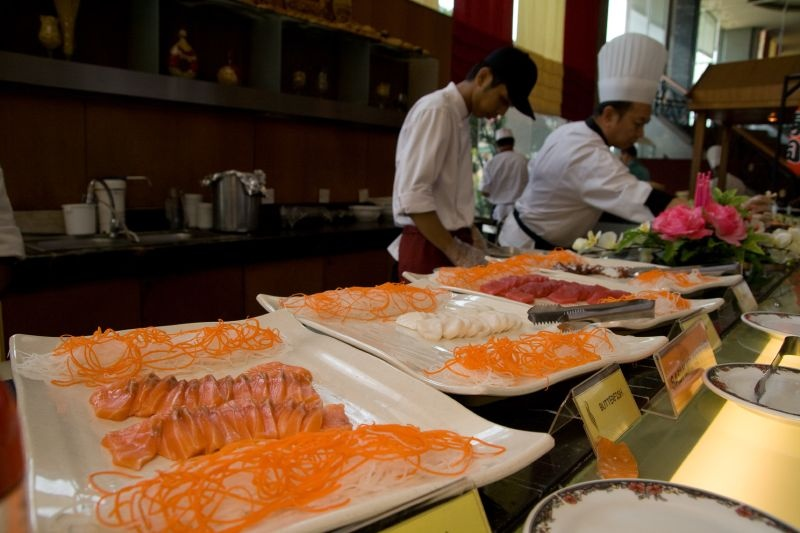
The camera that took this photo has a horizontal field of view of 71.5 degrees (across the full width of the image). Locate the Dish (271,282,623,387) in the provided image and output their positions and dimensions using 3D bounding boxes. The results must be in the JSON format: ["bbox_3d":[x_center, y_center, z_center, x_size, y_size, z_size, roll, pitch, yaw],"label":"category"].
[{"bbox_3d":[-0.017,0.184,1.568,0.425,0.086,0.595,-7,11,-44],"label":"Dish"}]

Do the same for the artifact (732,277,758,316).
[{"bbox_3d":[1.228,0.121,2.012,0.123,0.114,0.034,-18,-14,-39],"label":"artifact"}]

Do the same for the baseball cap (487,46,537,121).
[{"bbox_3d":[0.526,-0.878,2.665,0.261,0.312,0.150,-1,16,-6],"label":"baseball cap"}]

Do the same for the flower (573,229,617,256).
[{"bbox_3d":[0.942,-0.111,2.683,0.143,0.067,0.131,-3,5,27],"label":"flower"}]

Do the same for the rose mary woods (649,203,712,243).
[{"bbox_3d":[1.211,-0.160,2.378,0.230,0.117,0.223,-20,10,18],"label":"rose mary woods"}]
